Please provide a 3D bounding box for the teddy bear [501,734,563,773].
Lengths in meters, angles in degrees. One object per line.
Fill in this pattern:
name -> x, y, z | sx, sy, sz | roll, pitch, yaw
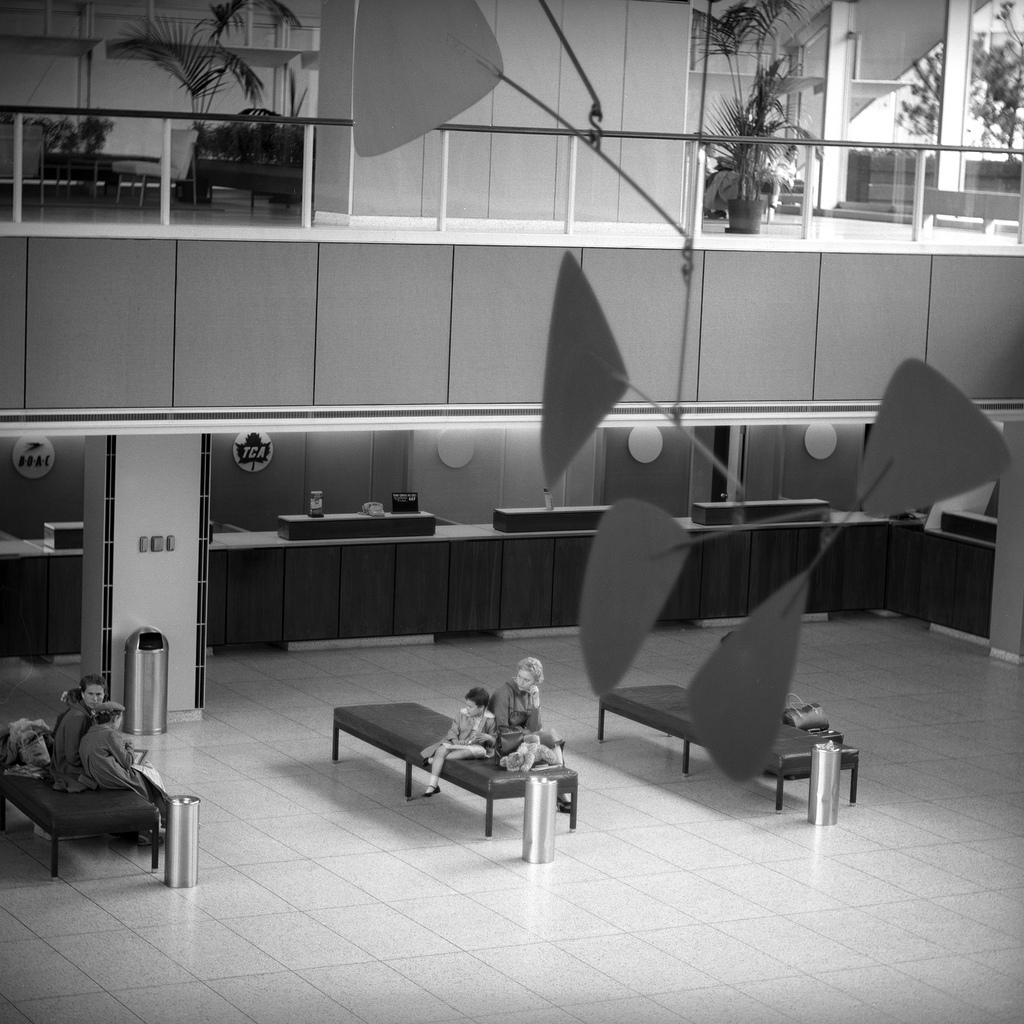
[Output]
teddy bear -> 0.196, 2.207, 11.428 | 0.649, 0.305, 0.312 | -2, 8, -26

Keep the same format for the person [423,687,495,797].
person -> -0.523, 2.232, 11.839 | 0.655, 1.181, 0.576 | 1, 7, -4

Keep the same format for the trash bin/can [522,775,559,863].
trash bin/can -> 0.230, 2.632, 10.648 | 0.272, 0.768, 0.267 | 2, 7, -1

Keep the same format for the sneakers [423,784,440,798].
sneakers -> -0.747, 2.667, 11.868 | 0.079, 0.102, 0.221 | 0, -1, 32

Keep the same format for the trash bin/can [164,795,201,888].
trash bin/can -> -2.623, 2.629, 9.932 | 0.250, 0.742, 0.187 | 0, 7, -15
